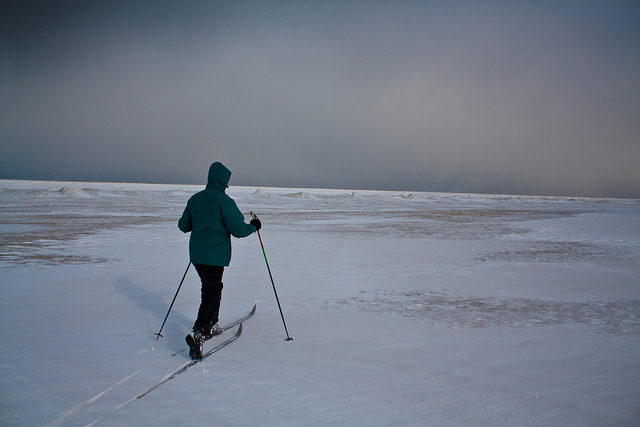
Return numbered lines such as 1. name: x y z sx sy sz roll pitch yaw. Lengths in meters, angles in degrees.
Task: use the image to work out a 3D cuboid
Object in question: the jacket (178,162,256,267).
1. jacket: -1.893 0.043 9.186 1.106 1.979 0.774 9 15 34
